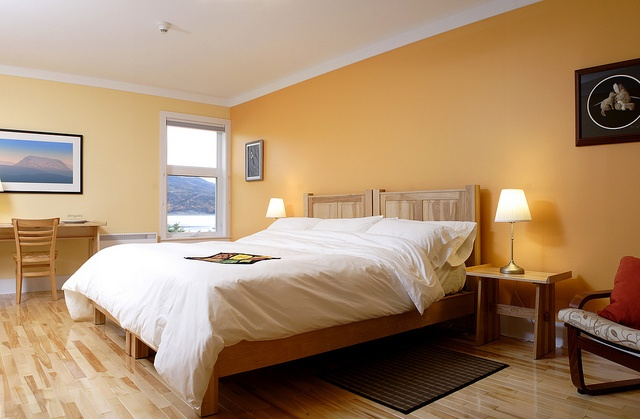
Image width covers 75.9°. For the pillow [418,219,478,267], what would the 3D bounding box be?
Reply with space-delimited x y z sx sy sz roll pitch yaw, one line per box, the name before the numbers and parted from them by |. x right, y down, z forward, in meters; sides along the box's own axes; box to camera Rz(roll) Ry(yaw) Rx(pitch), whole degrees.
pillow | 1.350 0.332 4.204 0.150 0.465 0.424 10 6 43

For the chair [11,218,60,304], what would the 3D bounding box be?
chair | -3.818 0.644 5.550 0.521 1.117 0.805 -5 9 -35

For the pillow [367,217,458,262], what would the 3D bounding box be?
pillow | 0.953 0.262 4.119 0.568 0.138 0.498 6 36 38

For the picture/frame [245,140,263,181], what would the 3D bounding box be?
picture/frame | -1.085 -0.811 6.832 0.113 0.680 0.510 -7 10 -43

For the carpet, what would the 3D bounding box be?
carpet | 0.775 1.379 3.436 1.299 0.049 0.860 -4 7 -38

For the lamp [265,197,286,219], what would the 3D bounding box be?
lamp | -0.631 -0.026 6.053 0.309 0.405 0.314 -4 7 -43

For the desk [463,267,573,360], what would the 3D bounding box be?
desk | 1.868 0.962 3.915 0.520 0.704 0.798 3 -2 -40

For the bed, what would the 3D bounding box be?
bed | 0.034 0.558 3.911 3.196 1.563 1.338 -4 8 -34
